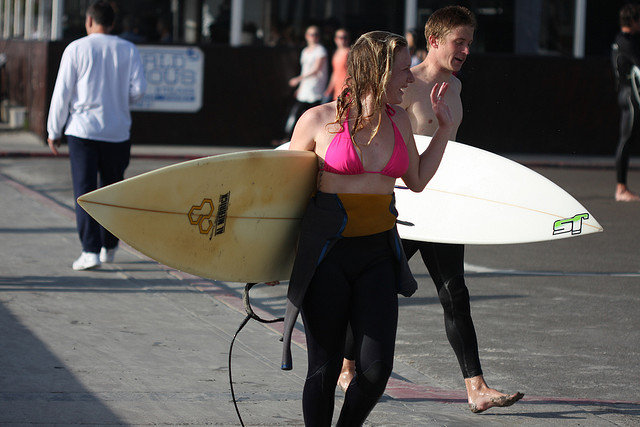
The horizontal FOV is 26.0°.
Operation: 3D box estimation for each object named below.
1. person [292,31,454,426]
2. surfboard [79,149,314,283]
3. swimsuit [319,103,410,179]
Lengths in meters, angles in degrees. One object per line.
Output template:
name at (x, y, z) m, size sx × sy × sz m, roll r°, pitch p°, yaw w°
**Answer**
person at (0.420, 0.142, 12.023) m, size 1.184 × 3.341 × 0.930 m, roll 3°, pitch 13°, yaw 2°
surfboard at (-0.902, 0.000, 12.389) m, size 0.331 × 1.057 × 3.479 m, roll -21°, pitch -12°, yaw 37°
swimsuit at (0.478, -0.640, 12.059) m, size 0.382 × 0.618 × 0.703 m, roll 6°, pitch -15°, yaw -39°
